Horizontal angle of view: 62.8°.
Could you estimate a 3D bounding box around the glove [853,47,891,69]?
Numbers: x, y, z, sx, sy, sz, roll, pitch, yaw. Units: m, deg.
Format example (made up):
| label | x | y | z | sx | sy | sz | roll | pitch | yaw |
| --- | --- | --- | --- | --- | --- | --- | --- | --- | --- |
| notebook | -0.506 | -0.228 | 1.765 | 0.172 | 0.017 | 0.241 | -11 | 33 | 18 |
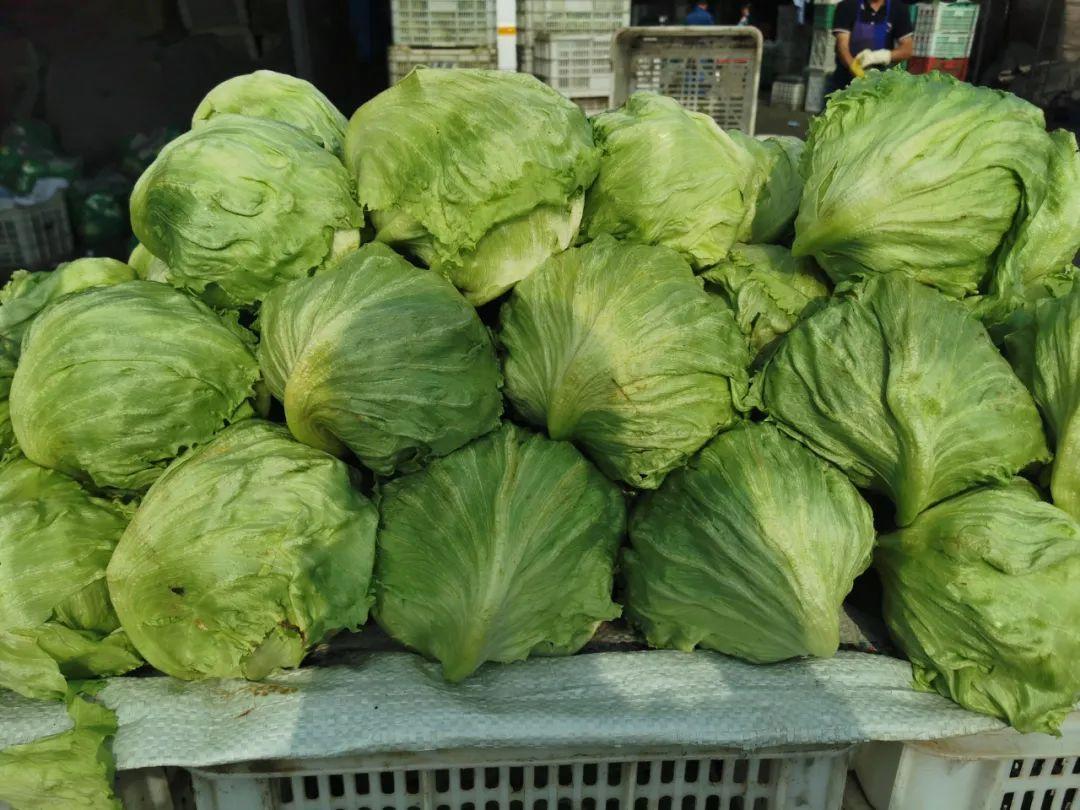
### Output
| label | x | y | z | sx | sy | sz | roll | pitch | yaw |
| --- | --- | --- | --- | --- | --- | --- | --- | --- | --- |
| glove | 3.445 | -3.598 | 9.209 | 0.327 | 0.216 | 0.712 | 20 | 28 | 36 |
